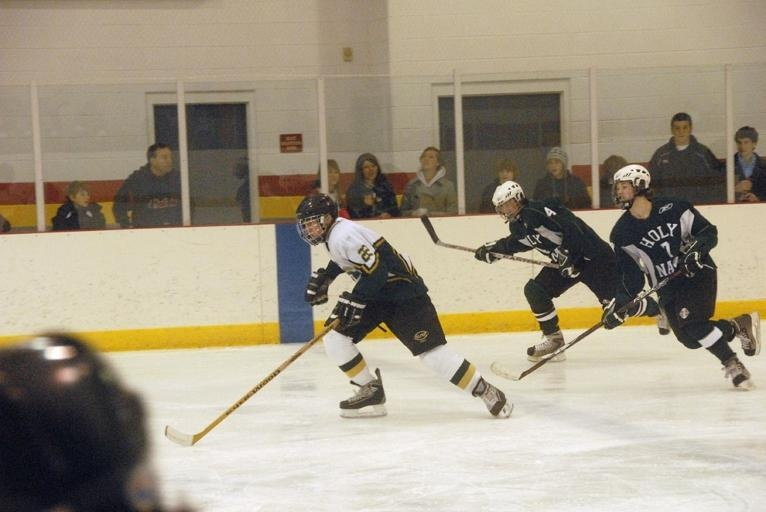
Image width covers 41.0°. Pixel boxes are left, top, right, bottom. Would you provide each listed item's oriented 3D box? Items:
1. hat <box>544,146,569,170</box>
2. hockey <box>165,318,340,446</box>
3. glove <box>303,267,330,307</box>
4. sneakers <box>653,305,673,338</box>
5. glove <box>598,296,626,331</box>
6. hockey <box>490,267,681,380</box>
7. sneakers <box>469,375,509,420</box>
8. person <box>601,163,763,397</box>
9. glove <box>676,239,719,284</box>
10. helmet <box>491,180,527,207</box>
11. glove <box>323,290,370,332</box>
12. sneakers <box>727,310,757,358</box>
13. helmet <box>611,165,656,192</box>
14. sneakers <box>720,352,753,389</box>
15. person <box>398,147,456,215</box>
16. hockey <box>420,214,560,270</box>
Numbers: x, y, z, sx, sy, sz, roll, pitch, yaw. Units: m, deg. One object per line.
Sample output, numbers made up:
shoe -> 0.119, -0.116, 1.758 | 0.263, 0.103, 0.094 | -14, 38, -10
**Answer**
hat -> 1.696, -0.940, 9.882 | 0.166, 0.185, 0.222 | -8, -29, 27
hockey -> -1.069, 1.028, 8.203 | 1.605, 0.273, 0.118 | -32, 8, -23
glove -> -0.473, 0.257, 7.731 | 0.135, 0.193, 0.268 | -5, -35, -27
sneakers -> 2.405, 0.570, 8.826 | 0.128, 0.323, 0.201 | -15, 26, 4
glove -> 1.739, 0.492, 7.965 | 0.118, 0.275, 0.271 | 35, 39, -10
hockey -> 1.723, 0.593, 8.835 | 1.464, 0.205, 0.143 | -32, 17, -2
sneakers -> 0.794, 1.016, 7.353 | 0.352, 0.201, 0.146 | 31, -18, -13
person -> 2.280, 0.159, 7.876 | 1.088, 1.694, 0.429 | 1, 5, 17
glove -> 2.337, 0.056, 7.742 | 0.296, 0.284, 0.124 | -37, 22, -18
helmet -> 1.074, -0.542, 8.862 | 0.285, 0.244, 0.214 | 1, -6, -27
glove -> -0.257, 0.415, 7.291 | 0.234, 0.292, 0.132 | 35, 22, 14
sneakers -> 2.816, 0.593, 7.914 | 0.199, 0.390, 0.144 | -20, 10, -25
helmet -> 1.946, -0.603, 7.948 | 0.297, 0.256, 0.215 | 11, -2, 6
sneakers -> 2.674, 0.899, 7.741 | 0.163, 0.132, 0.366 | 34, 16, -16
person -> 0.411, -0.751, 9.832 | 0.683, 0.727, 0.452 | 1, 3, 12
hockey -> 0.947, -0.105, 9.953 | 1.653, 0.264, 0.071 | 13, -30, -44
